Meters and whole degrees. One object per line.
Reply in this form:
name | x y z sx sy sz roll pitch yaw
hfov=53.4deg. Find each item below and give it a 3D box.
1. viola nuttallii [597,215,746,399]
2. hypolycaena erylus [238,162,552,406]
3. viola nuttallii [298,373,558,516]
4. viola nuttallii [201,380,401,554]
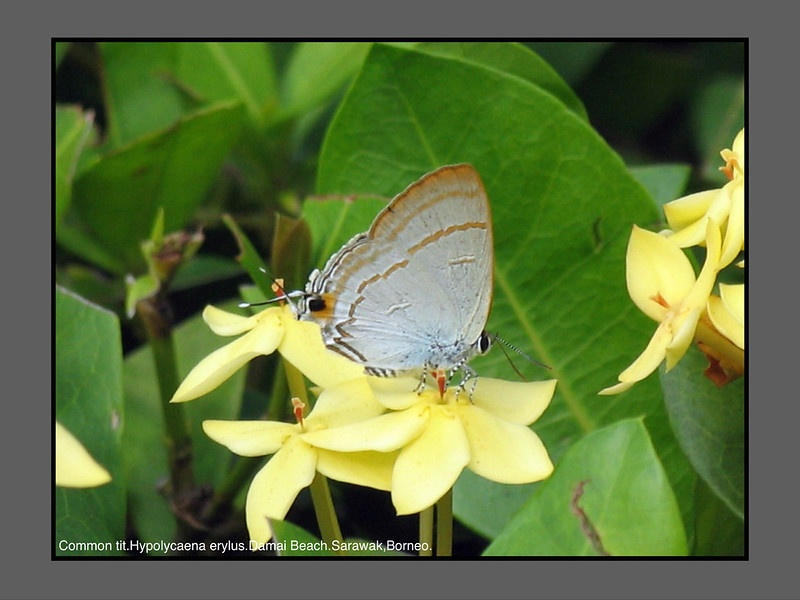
viola nuttallii | 0.423 0.023 1.200 0.219 0.286 0.156 4 10 8
hypolycaena erylus | 0.014 -0.040 1.247 0.370 0.284 0.369 -3 -4 -1
viola nuttallii | 0.041 0.186 1.213 0.358 0.096 0.354 1 22 -11
viola nuttallii | -0.147 0.202 1.178 0.330 0.118 0.368 7 19 2
